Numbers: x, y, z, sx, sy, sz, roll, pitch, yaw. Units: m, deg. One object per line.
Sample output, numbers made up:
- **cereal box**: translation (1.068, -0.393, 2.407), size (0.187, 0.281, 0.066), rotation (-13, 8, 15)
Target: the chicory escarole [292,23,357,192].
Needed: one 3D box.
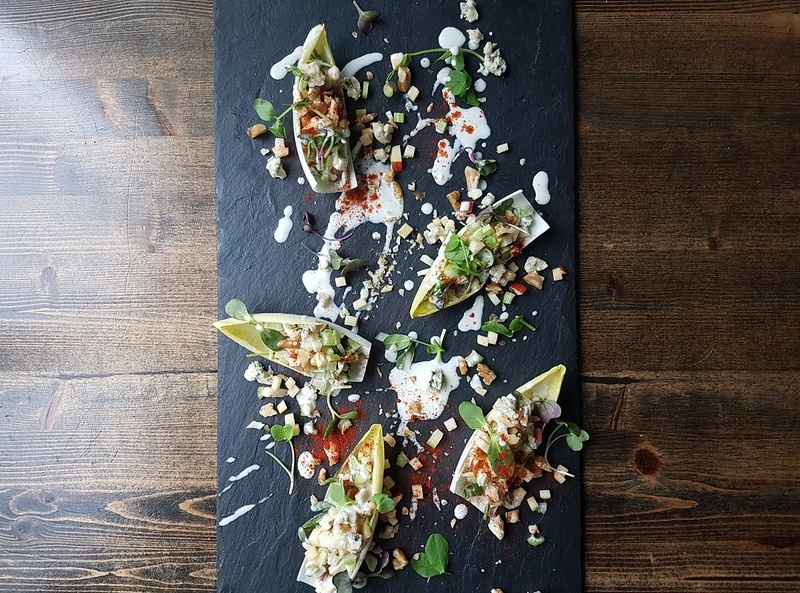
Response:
- **chicory escarole**: translation (-0.267, -0.596, 3.179), size (0.189, 0.559, 0.165), rotation (-1, 0, -2)

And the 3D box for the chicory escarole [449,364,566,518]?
- **chicory escarole**: translation (0.367, 0.470, 3.293), size (0.269, 0.599, 0.186), rotation (32, 0, -10)
